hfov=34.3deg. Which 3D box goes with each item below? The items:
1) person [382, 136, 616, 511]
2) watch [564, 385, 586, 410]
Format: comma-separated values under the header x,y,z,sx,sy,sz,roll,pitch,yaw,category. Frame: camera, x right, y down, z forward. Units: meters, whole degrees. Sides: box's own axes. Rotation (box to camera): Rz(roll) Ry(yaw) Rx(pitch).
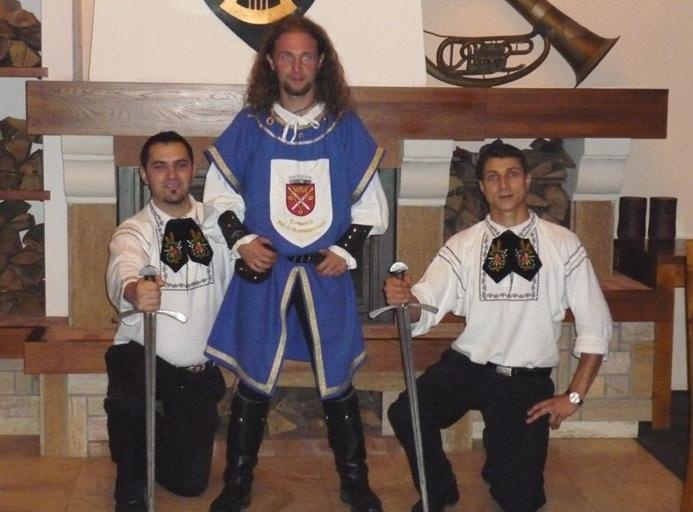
x,y,z,sx,sy,sz,roll,pitch,yaw,category
0.870,0.397,5.949,1.041,1.959,0.426,3,7,10,person
1.197,0.743,5.908,0.107,0.106,0.074,-33,-9,4,watch
